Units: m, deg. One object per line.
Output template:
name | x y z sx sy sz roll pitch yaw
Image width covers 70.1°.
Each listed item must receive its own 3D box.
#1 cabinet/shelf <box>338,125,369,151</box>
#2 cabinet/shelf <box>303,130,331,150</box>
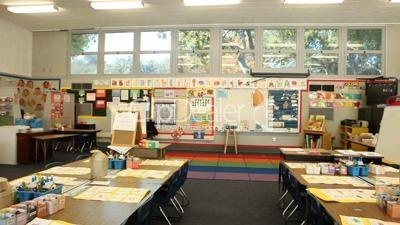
cabinet/shelf | 6.929 1.194 13.201 0.581 1.074 1.859 6 -3 18
cabinet/shelf | 5.199 1.298 13.019 0.921 0.740 0.651 -2 -1 25
